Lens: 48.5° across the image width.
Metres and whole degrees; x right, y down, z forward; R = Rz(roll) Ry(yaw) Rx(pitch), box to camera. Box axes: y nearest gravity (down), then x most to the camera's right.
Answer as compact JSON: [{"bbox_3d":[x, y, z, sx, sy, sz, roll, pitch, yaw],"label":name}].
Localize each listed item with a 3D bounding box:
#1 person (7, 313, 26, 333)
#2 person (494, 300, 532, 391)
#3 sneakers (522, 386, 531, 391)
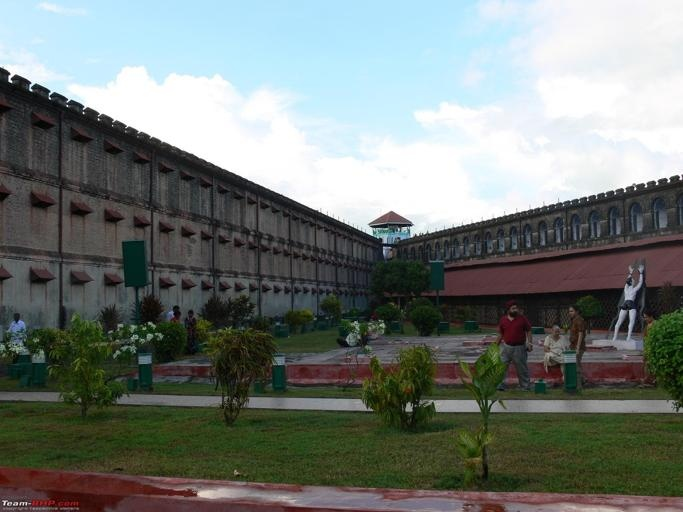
[{"bbox_3d":[-12.284,2.523,28.409,0.726,0.873,0.321,-8,-19,-3],"label":"person"},{"bbox_3d":[4.538,2.321,19.643,0.804,2.248,1.164,-1,-7,14],"label":"person"},{"bbox_3d":[4.896,3.504,19.970,0.199,0.201,0.145,-4,-11,41],"label":"sneakers"}]
